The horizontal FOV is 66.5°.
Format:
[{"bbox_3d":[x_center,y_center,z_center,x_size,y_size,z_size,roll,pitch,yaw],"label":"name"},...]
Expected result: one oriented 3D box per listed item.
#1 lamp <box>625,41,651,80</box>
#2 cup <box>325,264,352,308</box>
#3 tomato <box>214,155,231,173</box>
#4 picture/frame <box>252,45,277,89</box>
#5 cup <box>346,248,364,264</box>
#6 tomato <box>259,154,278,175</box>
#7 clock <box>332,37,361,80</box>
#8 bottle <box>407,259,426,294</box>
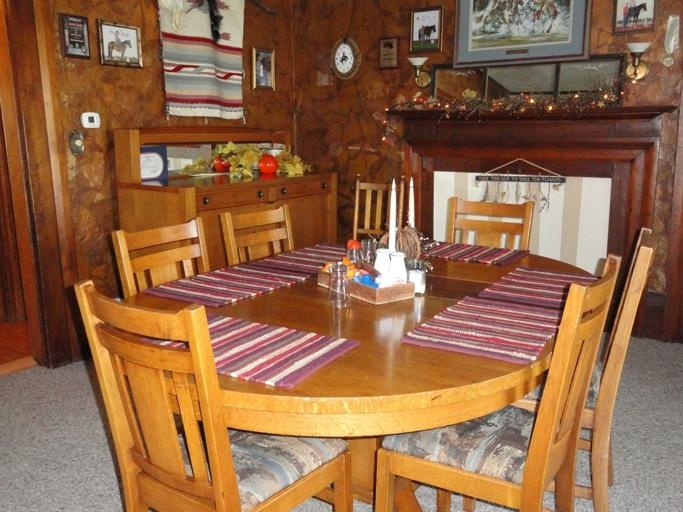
[{"bbox_3d":[1.998,-1.308,3.513,0.154,0.230,0.137,7,22,27],"label":"lamp"},{"bbox_3d":[-0.006,0.115,1.943,0.103,0.153,0.098,-6,24,3],"label":"cup"},{"bbox_3d":[-0.962,-0.751,4.187,0.096,0.112,0.094,27,37,19],"label":"tomato"},{"bbox_3d":[-0.688,-1.664,4.571,0.051,0.424,0.403,7,13,30],"label":"picture/frame"},{"bbox_3d":[0.049,-0.005,2.189,0.064,0.059,0.064,0,18,0],"label":"cup"},{"bbox_3d":[-0.594,-0.748,4.237,0.167,0.163,0.156,-7,53,-6],"label":"tomato"},{"bbox_3d":[0.040,-1.758,4.637,0.269,0.337,0.068,11,19,39],"label":"clock"},{"bbox_3d":[0.298,0.100,2.080,0.079,0.082,0.078,0,7,-5],"label":"bottle"}]
